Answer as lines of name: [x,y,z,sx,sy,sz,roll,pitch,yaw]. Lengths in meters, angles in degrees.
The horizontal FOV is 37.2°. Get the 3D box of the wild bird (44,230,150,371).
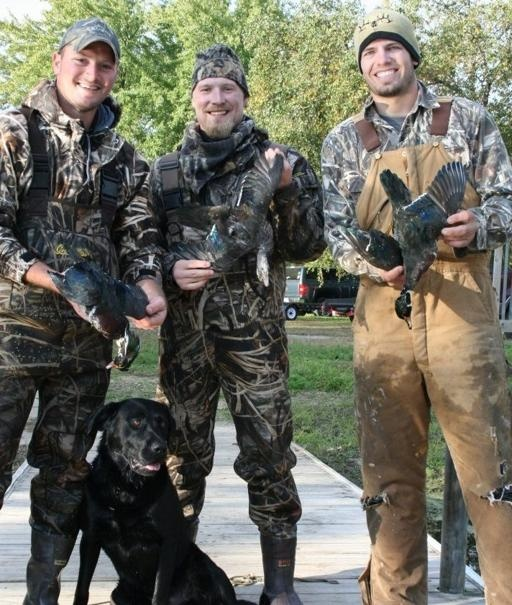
wild bird: [-0.527,0.024,2.751,0.180,0.448,0.406,6,7,32]

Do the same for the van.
van: [1.833,-0.427,22.355,2.675,1.143,1.301,-5,3,-8]

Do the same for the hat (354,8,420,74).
hat: [0.509,-1.038,3.044,0.231,0.204,0.281,-5,-4,11]

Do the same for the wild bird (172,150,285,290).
wild bird: [-0.119,-0.371,3.303,0.460,0.574,0.165,1,6,-5]

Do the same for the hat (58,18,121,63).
hat: [-0.638,-1.033,2.952,0.224,0.182,0.226,0,5,-20]

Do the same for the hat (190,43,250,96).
hat: [-0.162,-1.057,3.449,0.261,0.220,0.240,1,5,-4]

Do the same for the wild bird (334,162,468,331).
wild bird: [0.519,-0.216,2.751,0.426,0.594,0.240,3,6,12]
